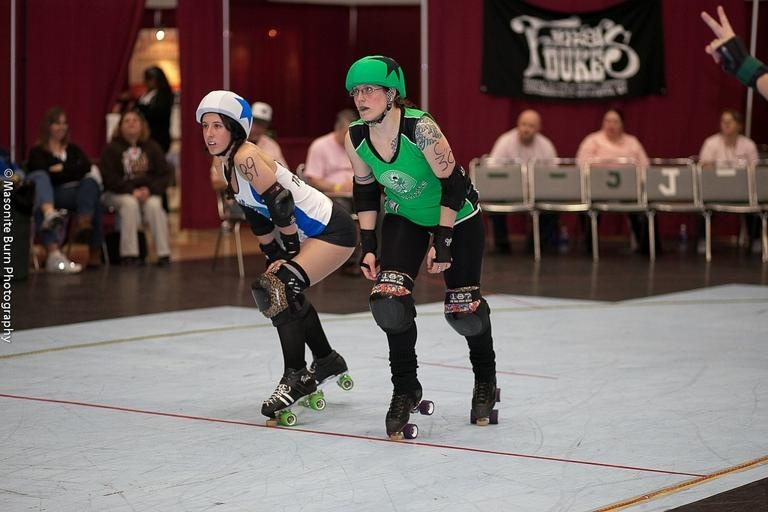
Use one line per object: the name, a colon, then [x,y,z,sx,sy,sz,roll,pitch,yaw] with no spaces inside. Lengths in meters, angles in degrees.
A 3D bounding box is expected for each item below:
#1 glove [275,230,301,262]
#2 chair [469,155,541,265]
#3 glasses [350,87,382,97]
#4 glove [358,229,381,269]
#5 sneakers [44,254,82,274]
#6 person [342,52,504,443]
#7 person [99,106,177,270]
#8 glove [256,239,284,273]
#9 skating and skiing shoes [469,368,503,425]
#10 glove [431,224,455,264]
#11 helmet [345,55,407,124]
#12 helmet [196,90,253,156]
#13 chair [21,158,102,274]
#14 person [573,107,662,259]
glove: [-0.551,-0.064,4.919,0.156,0.209,0.134,0,1,16]
chair: [1.510,-0.714,10.866,0.956,1.836,1.186,0,-2,5]
glasses: [-0.117,-0.900,4.507,0.206,0.059,0.076,8,14,37]
glove: [-0.092,-0.048,4.750,0.115,0.202,0.079,-2,8,-16]
sneakers: [-3.556,0.072,9.198,0.408,0.211,0.181,1,6,6]
person: [0.228,-0.073,4.643,0.847,2.062,0.547,-2,10,-5]
person: [-2.858,-0.808,9.688,0.762,1.741,0.594,-5,11,-21]
glove: [-0.701,-0.019,5.066,0.089,0.180,0.172,-26,2,-15]
skating and skiing shoes: [0.582,0.820,4.767,0.123,0.185,0.293,-2,25,14]
glove: [0.319,-0.067,4.569,0.118,0.199,0.073,7,-1,-16]
helmet: [-0.054,-0.953,4.670,0.364,0.408,0.284,1,-9,-35]
helmet: [-0.929,-0.809,4.821,0.302,0.252,0.230,-9,12,-31]
chair: [-3.634,-0.418,9.533,0.954,1.274,0.987,-1,1,-42]
person: [2.945,-0.947,10.676,0.821,1.943,0.966,-5,-11,30]
